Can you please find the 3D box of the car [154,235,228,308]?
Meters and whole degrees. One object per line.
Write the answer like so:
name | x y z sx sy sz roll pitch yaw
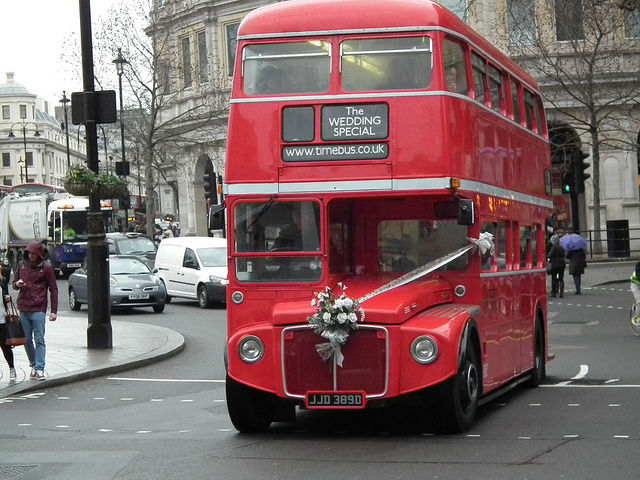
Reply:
car | -4.004 1.099 28.206 2.047 2.336 4.132 -3 2 -39

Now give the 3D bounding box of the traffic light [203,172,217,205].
traffic light | -1.639 -0.733 12.293 0.173 0.513 0.109 -7 -10 -7

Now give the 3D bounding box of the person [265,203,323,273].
person | -0.252 -0.004 9.277 0.626 1.322 0.675 2 -3 -8

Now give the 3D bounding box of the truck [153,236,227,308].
truck | -3.939 1.109 27.813 1.938 2.036 3.474 2 -1 -38

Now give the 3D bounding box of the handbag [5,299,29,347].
handbag | -4.819 1.315 12.864 0.330 0.723 0.415 -2 0 -22

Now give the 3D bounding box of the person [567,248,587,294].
person | 8.835 1.074 27.791 0.564 1.593 0.608 -2 0 21

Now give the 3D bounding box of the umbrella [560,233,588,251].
umbrella | 8.701 0.087 27.957 0.984 0.598 0.664 -2 0 -27

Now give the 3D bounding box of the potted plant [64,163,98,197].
potted plant | -4.932 -1.215 16.748 0.692 0.769 0.734 1 -2 -21

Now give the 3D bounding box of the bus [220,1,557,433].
bus | 0.769 -0.162 9.379 2.217 3.771 5.694 -1 -1 16

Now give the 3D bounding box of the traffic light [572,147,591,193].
traffic light | 9.637 -2.536 29.601 0.539 1.504 0.330 -1 -14 19

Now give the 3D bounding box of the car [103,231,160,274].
car | -8.698 0.721 37.155 2.131 2.341 4.162 -4 7 -29
